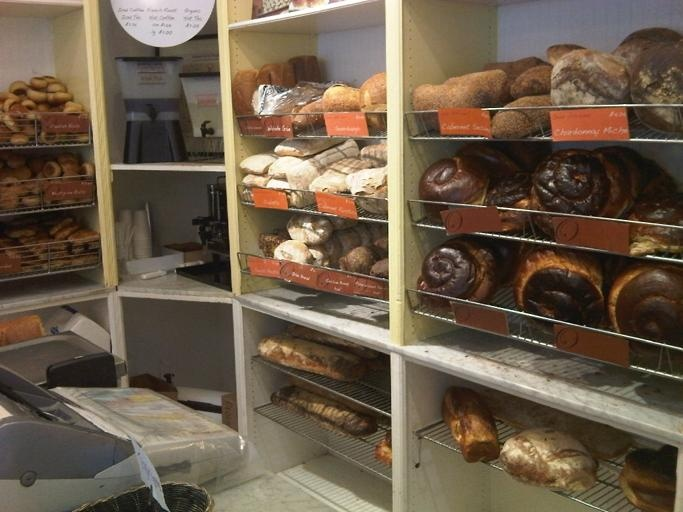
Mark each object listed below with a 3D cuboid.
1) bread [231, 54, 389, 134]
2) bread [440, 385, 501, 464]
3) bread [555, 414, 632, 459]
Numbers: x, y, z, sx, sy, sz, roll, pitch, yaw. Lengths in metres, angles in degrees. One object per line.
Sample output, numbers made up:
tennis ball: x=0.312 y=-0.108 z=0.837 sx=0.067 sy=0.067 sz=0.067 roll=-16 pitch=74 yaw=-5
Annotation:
bread: x=-0.111 y=-0.685 z=2.072 sx=0.606 sy=0.223 sz=0.432 roll=9 pitch=21 yaw=40
bread: x=0.483 y=0.566 z=1.773 sx=0.182 sy=0.113 sz=0.351 roll=-12 pitch=33 yaw=-4
bread: x=0.830 y=0.578 z=1.571 sx=0.191 sy=0.053 sz=0.123 roll=16 pitch=27 yaw=38
